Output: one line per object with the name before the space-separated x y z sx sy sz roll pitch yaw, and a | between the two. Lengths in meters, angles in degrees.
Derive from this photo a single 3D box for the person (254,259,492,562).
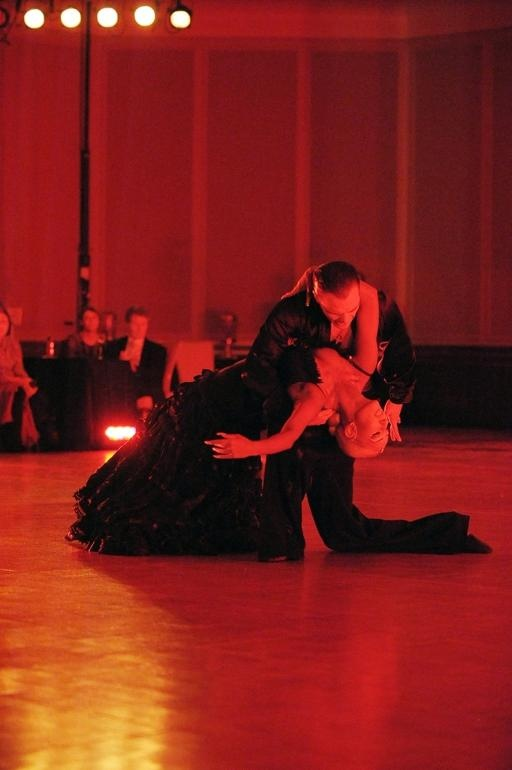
person | 0.322 0.115 2.675 0.428 0.684 0.736 2 1 42
